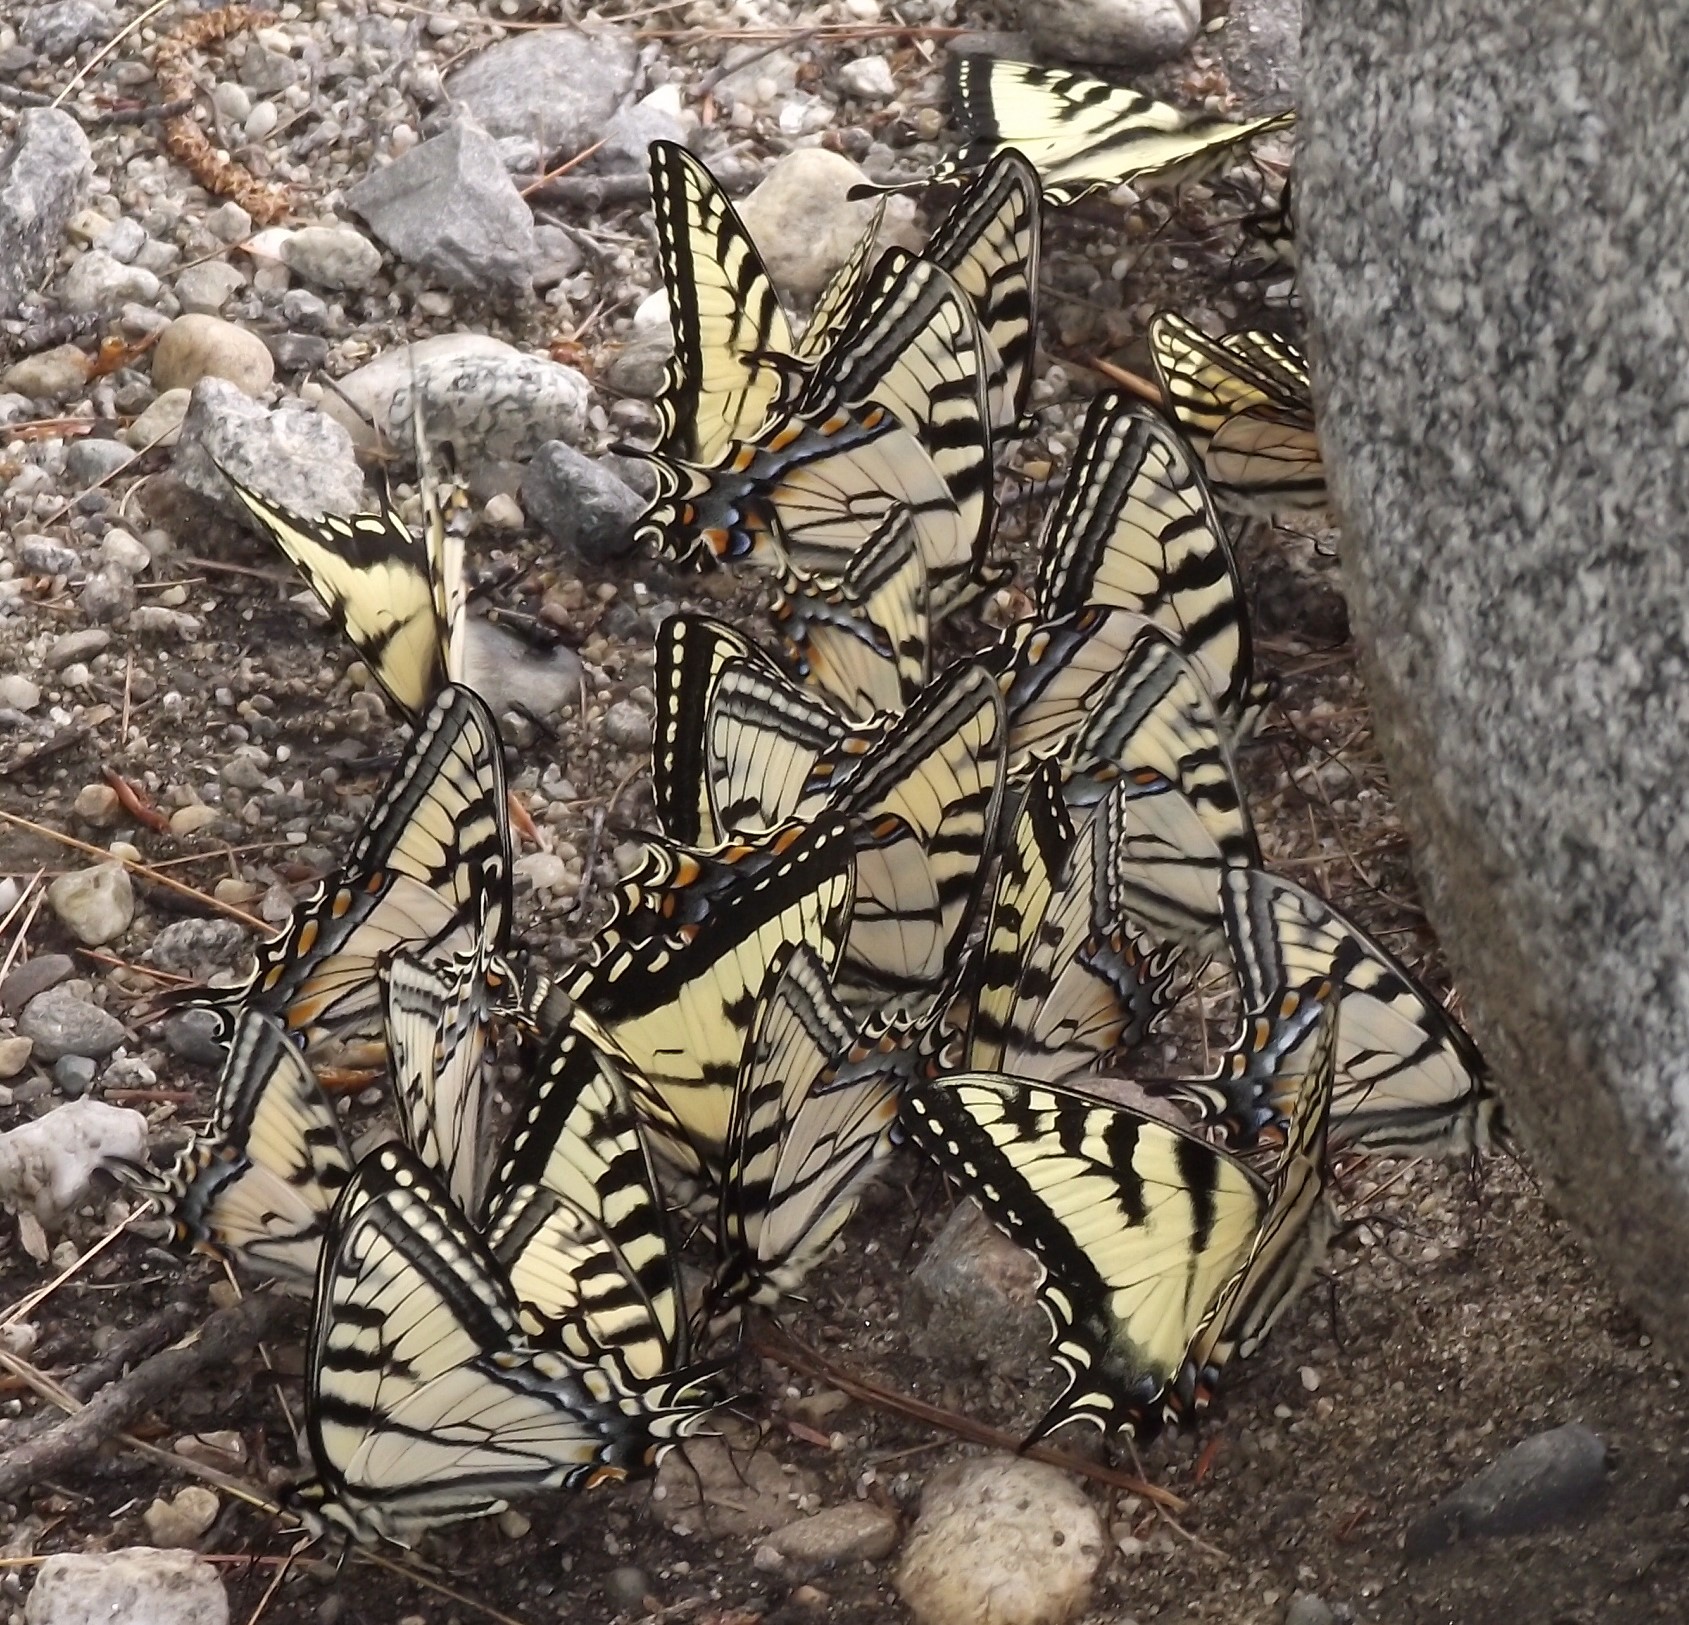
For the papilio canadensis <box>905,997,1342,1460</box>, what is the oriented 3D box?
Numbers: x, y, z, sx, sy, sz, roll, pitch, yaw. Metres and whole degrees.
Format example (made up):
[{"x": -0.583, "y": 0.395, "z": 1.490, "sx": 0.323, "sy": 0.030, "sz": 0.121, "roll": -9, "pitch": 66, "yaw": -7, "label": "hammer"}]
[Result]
[{"x": 0.407, "y": 0.640, "z": 3.728, "sx": 0.687, "sy": 0.501, "sz": 0.451, "roll": 0, "pitch": 72, "yaw": -47, "label": "papilio canadensis"}]
